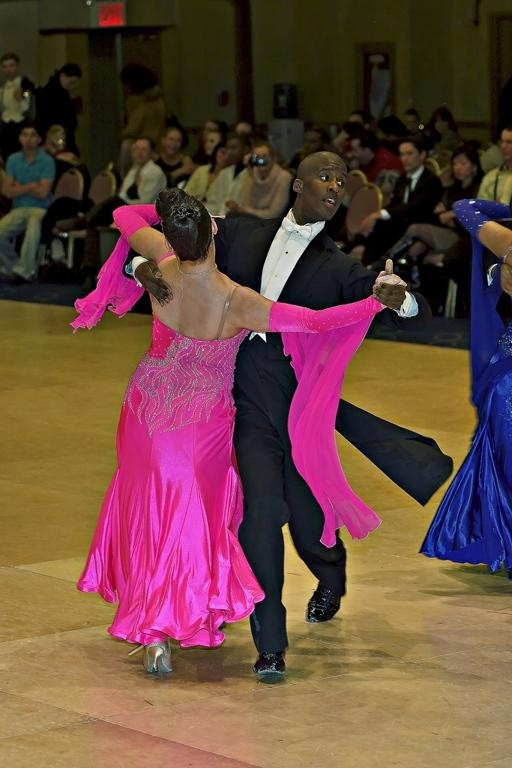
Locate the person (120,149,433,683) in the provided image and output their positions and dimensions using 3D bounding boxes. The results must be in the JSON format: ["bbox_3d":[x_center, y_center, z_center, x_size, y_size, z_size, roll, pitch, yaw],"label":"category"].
[{"bbox_3d":[0.014,0.139,2.151,0.954,1.229,0.587,-7,19,10],"label":"person"}]

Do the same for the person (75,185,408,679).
[{"bbox_3d":[-0.135,0.091,1.980,0.963,1.357,0.671,0,-6,8],"label":"person"}]

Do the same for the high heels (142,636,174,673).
[{"bbox_3d":[-0.261,0.719,1.904,0.046,0.047,0.133,1,5,-4],"label":"high heels"}]

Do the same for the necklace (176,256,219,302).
[{"bbox_3d":[-0.145,-0.262,1.763,0.098,0.073,0.108,0,0,-5],"label":"necklace"}]

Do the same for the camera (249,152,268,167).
[{"bbox_3d":[0.017,-2.816,9.030,0.202,0.189,0.158,7,-15,40],"label":"camera"}]

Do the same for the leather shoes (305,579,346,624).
[{"bbox_3d":[0.240,0.725,2.377,0.073,0.068,0.172,18,9,20],"label":"leather shoes"}]
